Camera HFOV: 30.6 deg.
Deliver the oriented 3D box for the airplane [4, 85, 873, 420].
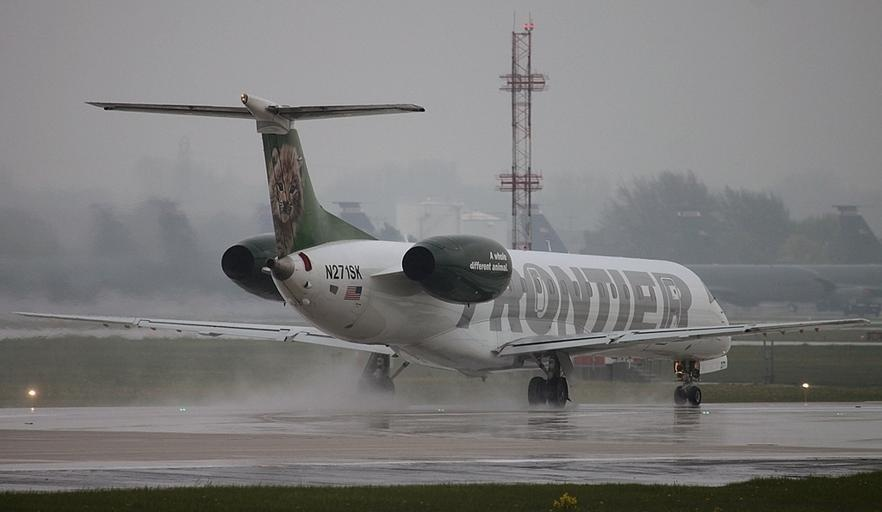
[{"bbox_3d":[0.880,0.126,46.037,22.658,9.157,12.500,-2,6,-24],"label":"airplane"}]
